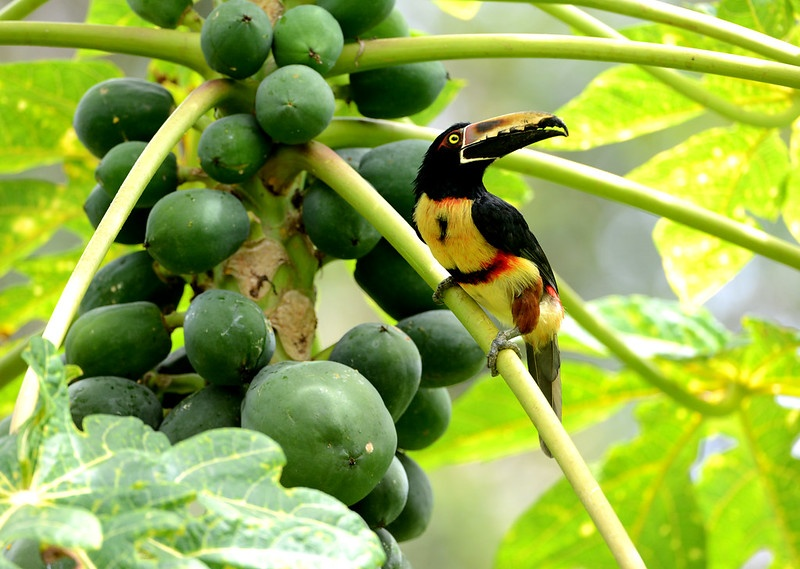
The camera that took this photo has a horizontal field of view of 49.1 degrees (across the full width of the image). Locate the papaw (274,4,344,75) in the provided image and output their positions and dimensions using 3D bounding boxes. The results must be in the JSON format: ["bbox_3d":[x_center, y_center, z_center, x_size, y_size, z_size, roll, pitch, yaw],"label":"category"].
[{"bbox_3d":[-0.263,-0.691,2.540,0.194,0.160,0.203,-9,-78,-35],"label":"papaw"}]

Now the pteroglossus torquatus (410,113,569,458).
[{"bbox_3d":[0.268,0.027,2.722,0.307,0.749,1.248,-9,-68,-15],"label":"pteroglossus torquatus"}]
